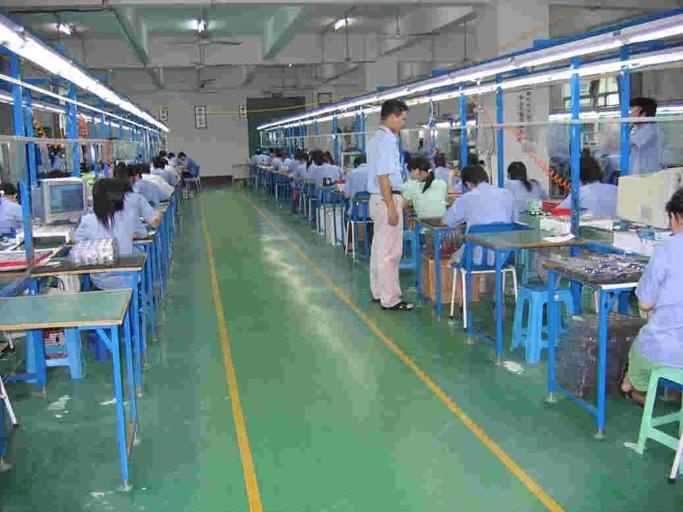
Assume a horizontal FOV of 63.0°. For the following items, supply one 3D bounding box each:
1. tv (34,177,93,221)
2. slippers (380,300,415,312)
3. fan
[{"bbox_3d":[-3.300,-0.649,6.554,0.322,0.506,0.574,12,15,30],"label":"tv"},{"bbox_3d":[0.619,0.554,6.216,0.362,0.170,0.128,-2,5,-4],"label":"slippers"},{"bbox_3d":[-3.325,-5.491,13.950,1.994,1.408,2.097,-4,21,-10],"label":"fan"}]
